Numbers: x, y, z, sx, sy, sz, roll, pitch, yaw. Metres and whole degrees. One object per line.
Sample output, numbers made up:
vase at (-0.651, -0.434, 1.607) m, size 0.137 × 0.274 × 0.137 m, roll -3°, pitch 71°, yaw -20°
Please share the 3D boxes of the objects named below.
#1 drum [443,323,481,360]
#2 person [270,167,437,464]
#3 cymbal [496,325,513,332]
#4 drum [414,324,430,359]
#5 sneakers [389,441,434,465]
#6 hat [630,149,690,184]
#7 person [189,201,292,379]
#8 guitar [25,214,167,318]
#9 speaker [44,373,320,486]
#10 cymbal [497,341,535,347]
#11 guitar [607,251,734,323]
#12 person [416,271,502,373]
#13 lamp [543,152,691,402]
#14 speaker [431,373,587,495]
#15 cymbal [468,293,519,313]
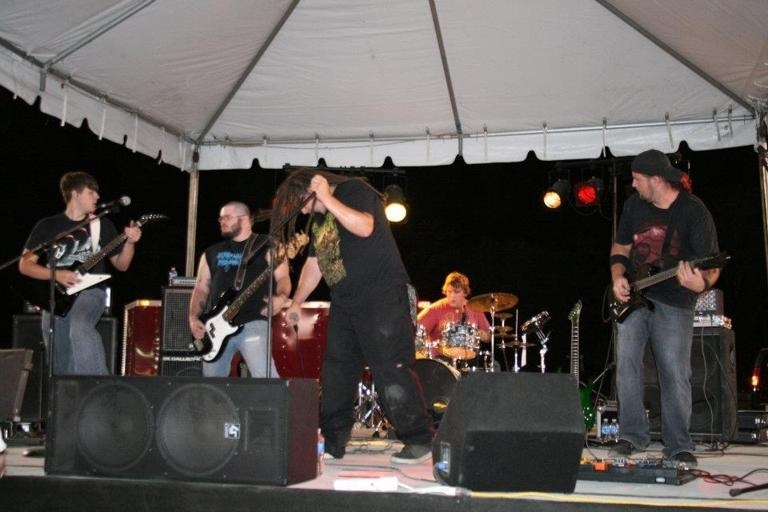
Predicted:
drum at (0.742, 0.867, 9.315) m, size 0.347 × 0.277 × 0.342 m, roll 13°, pitch -22°, yaw 5°
person at (-0.232, 0.424, 7.022) m, size 1.203 × 2.262 × 0.924 m, roll 1°, pitch -9°, yaw 2°
cymbal at (1.279, 0.776, 9.863) m, size 0.154 × 0.082 × 0.362 m, roll 0°, pitch -9°, yaw 9°
drum at (0.386, 0.870, 9.413) m, size 0.213 × 0.330 × 0.119 m, roll -2°, pitch 0°, yaw 21°
sneakers at (0.206, 1.502, 6.979) m, size 0.318 × 0.139 × 0.131 m, roll -2°, pitch -4°, yaw 14°
hat at (2.175, -0.741, 7.306) m, size 0.491 × 0.243 × 0.339 m, roll 9°, pitch 14°, yaw 40°
person at (-1.305, 0.483, 8.207) m, size 0.867 × 2.205 × 0.596 m, roll -2°, pitch 32°, yaw -13°
guitar at (-2.644, 0.050, 7.852) m, size 1.087 × 0.895 × 0.708 m, roll -1°, pitch -9°, yaw 16°
speaker at (-1.462, 1.174, 6.498) m, size 1.710 × 0.738 × 0.572 m, roll 0°, pitch -1°, yaw 6°
cymbal at (1.344, 0.935, 9.735) m, size 0.210 × 0.053 × 0.215 m, roll 0°, pitch -2°, yaw -14°
guitar at (2.177, 0.262, 7.173) m, size 0.235 × 0.476 × 1.047 m, roll 9°, pitch -11°, yaw -41°
person at (0.721, 0.567, 9.913) m, size 0.912 × 1.181 × 0.771 m, roll 0°, pitch -26°, yaw 3°
lamp at (2.173, 0.218, 8.609) m, size 1.102 × 2.738 × 0.300 m, roll 4°, pitch 7°, yaw 37°
speaker at (0.863, 1.211, 6.362) m, size 0.917 × 0.802 × 0.830 m, roll 3°, pitch -13°, yaw -4°
cymbal at (1.173, 0.485, 9.900) m, size 0.305 × 0.065 × 0.317 m, roll -21°, pitch -38°, yaw 28°
